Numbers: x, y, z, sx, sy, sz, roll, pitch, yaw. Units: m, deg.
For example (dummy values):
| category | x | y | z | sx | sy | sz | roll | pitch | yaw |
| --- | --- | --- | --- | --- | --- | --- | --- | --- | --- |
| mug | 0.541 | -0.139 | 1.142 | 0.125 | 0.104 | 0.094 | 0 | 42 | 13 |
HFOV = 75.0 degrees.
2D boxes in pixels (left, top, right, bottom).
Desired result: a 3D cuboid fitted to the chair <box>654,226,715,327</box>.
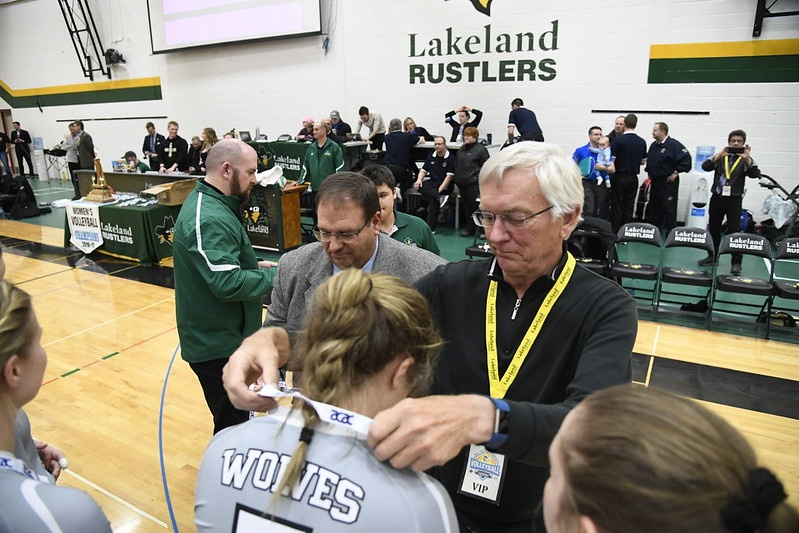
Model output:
| category | x | y | z | sx | sy | sz | roll | pitch | yaw |
| --- | --- | --- | --- | --- | --- | --- | --- | --- | --- |
| chair | 3.321 | 0.067 | 5.997 | 0.679 | 1.032 | 0.839 | 10 | 16 | 39 |

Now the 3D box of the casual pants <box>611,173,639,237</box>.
| category | x | y | z | sx | sy | sz | roll | pitch | yaw |
| --- | --- | --- | --- | --- | --- | --- | --- | --- | --- |
| casual pants | 3.808 | -1.105 | 8.870 | 0.408 | 1.049 | 0.303 | -4 | 17 | -16 |

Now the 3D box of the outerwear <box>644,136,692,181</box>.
| category | x | y | z | sx | sy | sz | roll | pitch | yaw |
| --- | --- | --- | --- | --- | --- | --- | --- | --- | --- |
| outerwear | 4.462 | -1.853 | 8.768 | 0.432 | 0.747 | 0.902 | -8 | 13 | -22 |

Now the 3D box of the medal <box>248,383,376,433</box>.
| category | x | y | z | sx | sy | sz | roll | pitch | yaw |
| --- | --- | --- | --- | --- | --- | --- | --- | --- | --- |
| medal | -0.272 | 0.459 | 1.684 | 0.270 | 0.039 | 0.067 | 21 | 38 | 25 |

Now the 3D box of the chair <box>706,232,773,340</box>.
| category | x | y | z | sx | sy | sz | roll | pitch | yaw |
| --- | --- | --- | --- | --- | --- | --- | --- | --- | --- |
| chair | 4.216 | -0.015 | 6.376 | 0.591 | 0.968 | 2.408 | 7 | 18 | 33 |

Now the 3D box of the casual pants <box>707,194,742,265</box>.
| category | x | y | z | sx | sy | sz | roll | pitch | yaw |
| --- | --- | --- | --- | --- | --- | --- | --- | --- | --- |
| casual pants | 4.790 | -0.532 | 7.640 | 0.446 | 1.133 | 0.336 | 1 | 0 | 29 |

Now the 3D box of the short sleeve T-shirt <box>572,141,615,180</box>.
| category | x | y | z | sx | sy | sz | roll | pitch | yaw |
| --- | --- | --- | --- | --- | --- | --- | --- | --- | --- |
| short sleeve T-shirt | 3.271 | -1.774 | 8.711 | 0.678 | 0.683 | 0.399 | -2 | 1 | 1 |

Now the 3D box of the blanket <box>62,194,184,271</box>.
| category | x | y | z | sx | sy | sz | roll | pitch | yaw |
| --- | --- | --- | --- | --- | --- | --- | --- | --- | --- |
| blanket | -4.243 | -0.596 | 8.345 | 1.300 | 0.511 | 1.239 | 2 | 11 | 5 |

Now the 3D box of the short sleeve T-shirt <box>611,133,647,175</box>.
| category | x | y | z | sx | sy | sz | roll | pitch | yaw |
| --- | --- | --- | --- | --- | --- | --- | --- | --- | --- |
| short sleeve T-shirt | 3.795 | -1.894 | 8.647 | 0.668 | 0.706 | 0.428 | 1 | 20 | 8 |
